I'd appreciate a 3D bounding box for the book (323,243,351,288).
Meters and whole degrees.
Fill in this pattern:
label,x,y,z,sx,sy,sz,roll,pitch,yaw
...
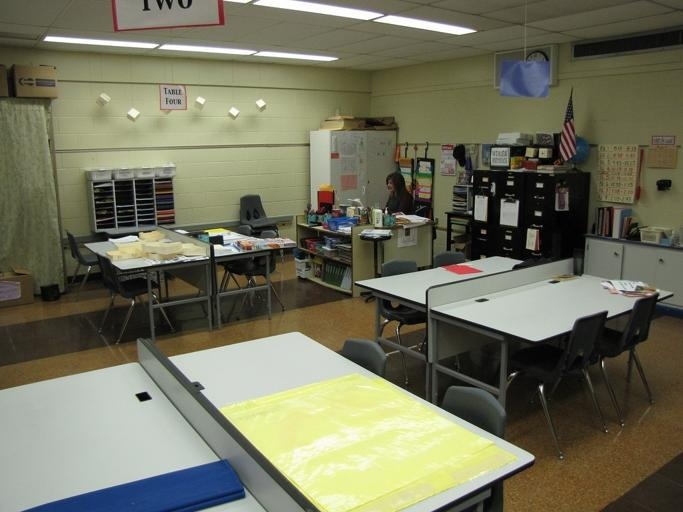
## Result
label,x,y,z,sx,sy,sz,roll,pitch,yaw
book,-0.067,0.121,7.460,0.442,0.608,0.670,-1,4,-32

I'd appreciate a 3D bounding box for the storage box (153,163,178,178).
label,x,y,z,sx,sy,sz,roll,pitch,yaw
storage box,-2.970,-1.432,8.105,0.303,0.160,0.449,-3,5,-22

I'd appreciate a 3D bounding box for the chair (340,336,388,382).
label,x,y,z,sx,sy,sz,roll,pitch,yaw
chair,0.138,0.664,3.383,0.281,0.391,0.271,8,8,43

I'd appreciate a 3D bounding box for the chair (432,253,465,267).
label,x,y,z,sx,sy,sz,roll,pitch,yaw
chair,1.217,0.023,5.541,0.212,0.266,0.229,1,0,42

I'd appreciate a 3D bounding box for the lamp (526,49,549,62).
label,x,y,z,sx,sy,sz,roll,pitch,yaw
lamp,2.935,-2.998,7.285,0.373,0.175,0.166,9,17,40

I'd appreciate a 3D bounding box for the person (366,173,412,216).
label,x,y,z,sx,sy,sz,roll,pitch,yaw
person,0.965,-1.069,8.615,0.679,0.792,0.678,-7,20,5

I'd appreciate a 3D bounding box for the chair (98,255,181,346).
label,x,y,z,sx,sy,sz,roll,pitch,yaw
chair,-2.732,0.388,6.271,0.846,0.977,1.489,-8,14,-25

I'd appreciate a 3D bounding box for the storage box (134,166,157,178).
label,x,y,z,sx,sy,sz,roll,pitch,yaw
storage box,-3.204,-1.348,7.837,0.168,0.117,0.245,0,2,2

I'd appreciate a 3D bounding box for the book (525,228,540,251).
label,x,y,z,sx,sy,sz,roll,pitch,yaw
book,2.850,-0.258,7.230,0.106,0.341,0.290,-6,11,-24

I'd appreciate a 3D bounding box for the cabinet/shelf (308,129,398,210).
label,x,y,z,sx,sy,sz,roll,pitch,yaw
cabinet/shelf,0.141,-1.681,9.278,1.717,1.667,0.557,-6,14,-25

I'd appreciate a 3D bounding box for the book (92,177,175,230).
label,x,y,z,sx,sy,sz,roll,pitch,yaw
book,-3.429,-0.871,7.847,0.918,0.565,0.290,-5,8,-36

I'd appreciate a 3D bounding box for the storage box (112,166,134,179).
label,x,y,z,sx,sy,sz,roll,pitch,yaw
storage box,-3.465,-1.302,7.634,0.176,0.099,0.259,0,2,-2

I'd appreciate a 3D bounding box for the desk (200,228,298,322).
label,x,y,z,sx,sy,sz,roll,pitch,yaw
desk,-1.576,0.197,7.089,1.093,1.263,1.952,-9,15,-30

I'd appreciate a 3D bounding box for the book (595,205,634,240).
label,x,y,z,sx,sy,sz,roll,pitch,yaw
book,3.748,-0.475,6.762,0.539,0.499,0.425,-6,10,-39
